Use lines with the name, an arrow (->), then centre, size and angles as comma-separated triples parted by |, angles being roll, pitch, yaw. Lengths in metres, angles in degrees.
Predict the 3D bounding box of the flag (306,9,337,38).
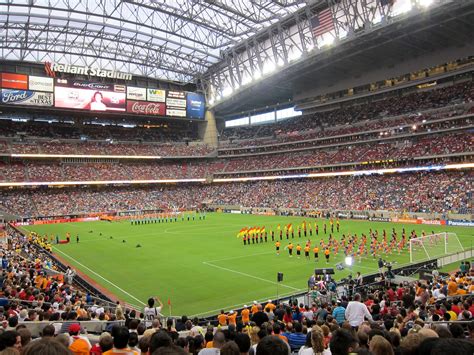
flag -> 12.376, -22.407, 65.207 | 5.263, 3.932, 0.411 | 3, 18, 45

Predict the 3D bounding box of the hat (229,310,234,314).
hat -> -0.402, 9.364, 31.389 | 0.270, 0.066, 0.251 | 2, -1, 20
